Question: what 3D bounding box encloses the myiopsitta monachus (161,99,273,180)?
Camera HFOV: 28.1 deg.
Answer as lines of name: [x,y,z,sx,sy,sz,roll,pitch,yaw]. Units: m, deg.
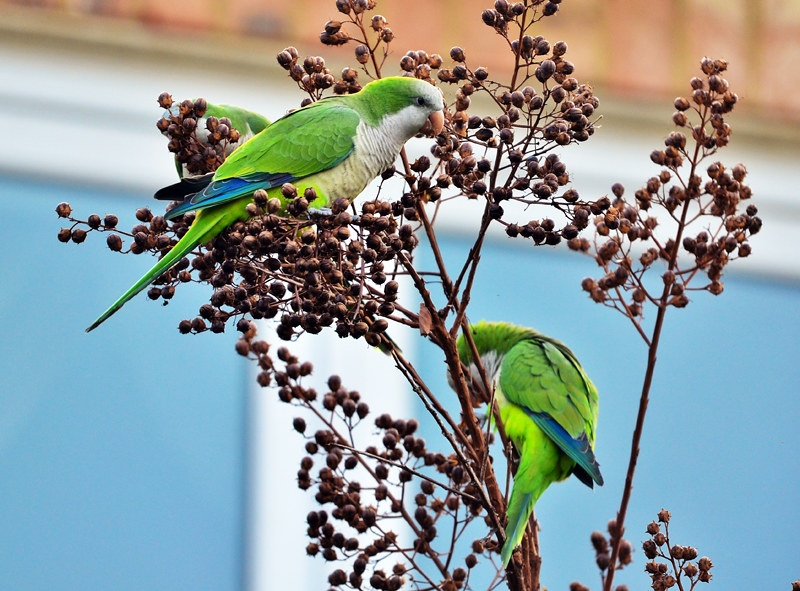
myiopsitta monachus: [-0.511,-0.454,4.508,0.326,0.244,0.170,16,-1,-43]
